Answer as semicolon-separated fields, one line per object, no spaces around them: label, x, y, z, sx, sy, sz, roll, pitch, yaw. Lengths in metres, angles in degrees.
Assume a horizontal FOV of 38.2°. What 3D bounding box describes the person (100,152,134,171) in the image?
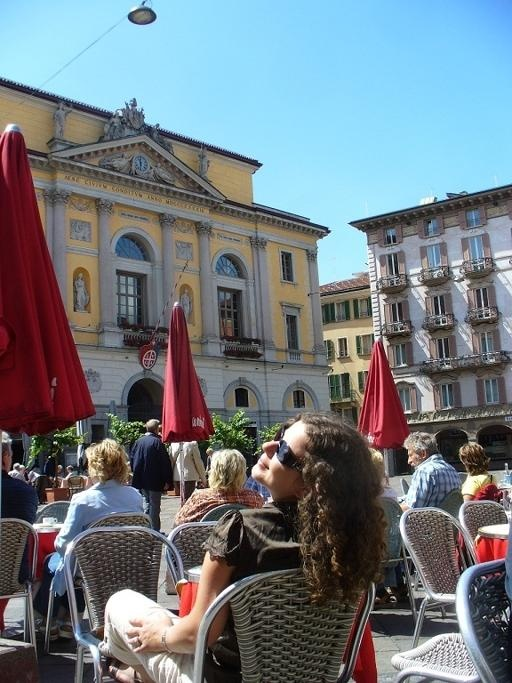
person;-5.641;-7.349;30.158;0.288;0.936;1.700;-6;-6;36

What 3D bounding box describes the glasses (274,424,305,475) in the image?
glasses;0.100;0.339;2.349;0.124;0.037;0.119;37;13;-32

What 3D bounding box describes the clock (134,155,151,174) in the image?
clock;-4.867;-7.407;31.170;0.810;0.755;0.784;-7;5;-31

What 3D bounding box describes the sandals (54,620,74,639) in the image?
sandals;-1.377;2.040;5.282;0.085;0.100;0.242;3;-6;-11
